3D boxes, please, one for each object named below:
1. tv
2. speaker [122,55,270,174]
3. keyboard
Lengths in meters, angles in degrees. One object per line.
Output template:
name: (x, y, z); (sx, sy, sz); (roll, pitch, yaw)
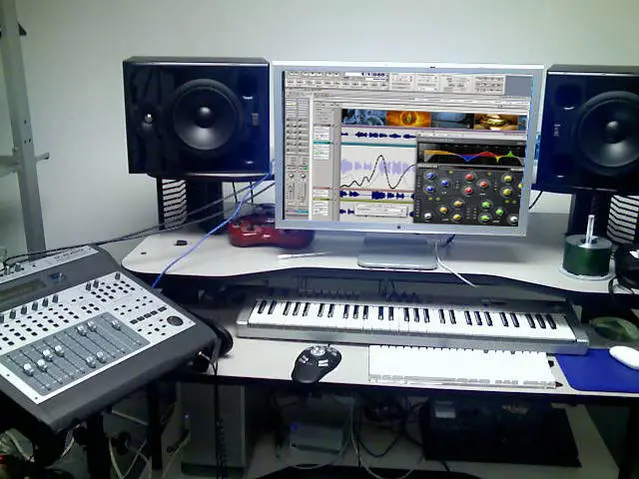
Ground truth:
tv: (0.243, -0.233, 1.508); (0.767, 0.591, 0.200); (3, 17, 11)
speaker: (-0.391, -0.396, 1.654); (0.431, 0.354, 0.223); (-2, 2, -8)
keyboard: (0.390, 0.356, 1.355); (0.501, 0.080, 0.159); (7, 15, 3)
